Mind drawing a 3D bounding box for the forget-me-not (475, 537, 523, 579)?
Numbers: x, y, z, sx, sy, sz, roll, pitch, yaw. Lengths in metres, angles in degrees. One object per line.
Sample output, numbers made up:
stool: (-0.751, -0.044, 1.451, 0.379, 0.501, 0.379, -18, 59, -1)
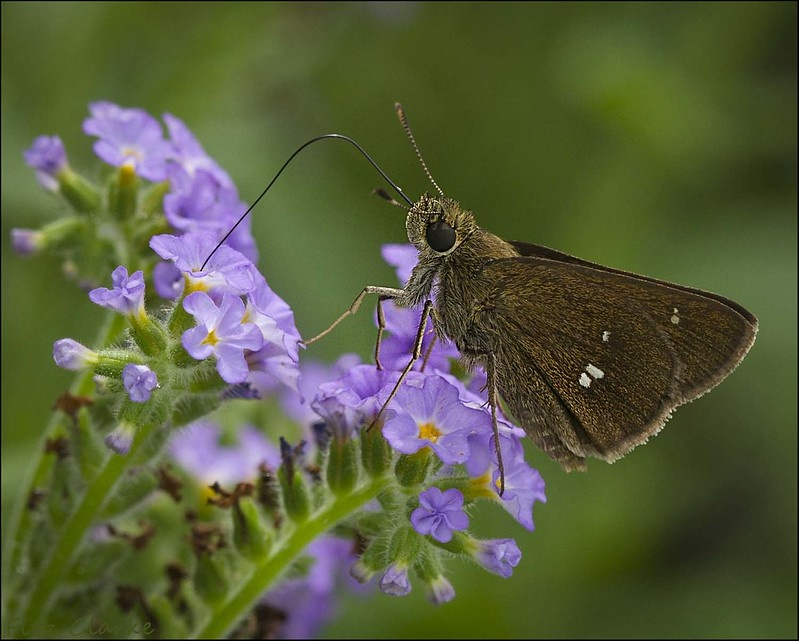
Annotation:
forget-me-not: (0.445, 1.039, 3.753, 0.097, 0.230, 0.141, -9, -70, -32)

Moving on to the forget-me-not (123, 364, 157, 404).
forget-me-not: (-1.088, 0.265, 3.458, 0.123, 0.161, 0.069, -6, -5, -2)

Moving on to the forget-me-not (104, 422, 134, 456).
forget-me-not: (-1.215, 0.509, 3.590, 0.109, 0.100, 0.103, 27, -50, -18)

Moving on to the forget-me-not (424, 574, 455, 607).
forget-me-not: (0.185, 1.228, 3.833, 0.156, 0.137, 0.105, 32, -51, -21)

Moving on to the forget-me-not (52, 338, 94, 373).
forget-me-not: (-1.400, 0.148, 3.585, 0.075, 0.111, 0.179, -21, -19, 36)
